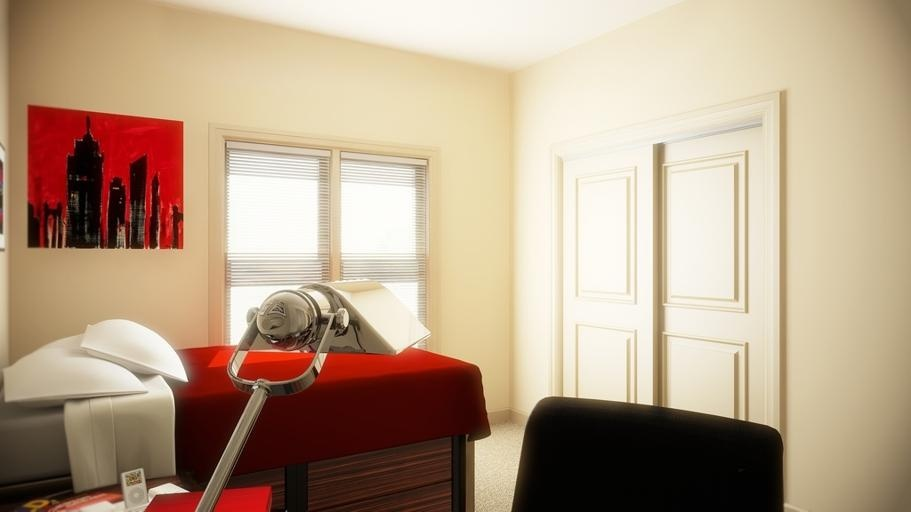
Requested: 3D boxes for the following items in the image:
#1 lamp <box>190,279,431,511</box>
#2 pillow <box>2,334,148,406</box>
[{"bbox_3d":[-0.613,0.607,3.147,1.279,1.194,0.945,8,-5,-39],"label":"lamp"},{"bbox_3d":[-2.422,0.762,3.668,0.508,0.144,0.514,-1,19,-34],"label":"pillow"}]
